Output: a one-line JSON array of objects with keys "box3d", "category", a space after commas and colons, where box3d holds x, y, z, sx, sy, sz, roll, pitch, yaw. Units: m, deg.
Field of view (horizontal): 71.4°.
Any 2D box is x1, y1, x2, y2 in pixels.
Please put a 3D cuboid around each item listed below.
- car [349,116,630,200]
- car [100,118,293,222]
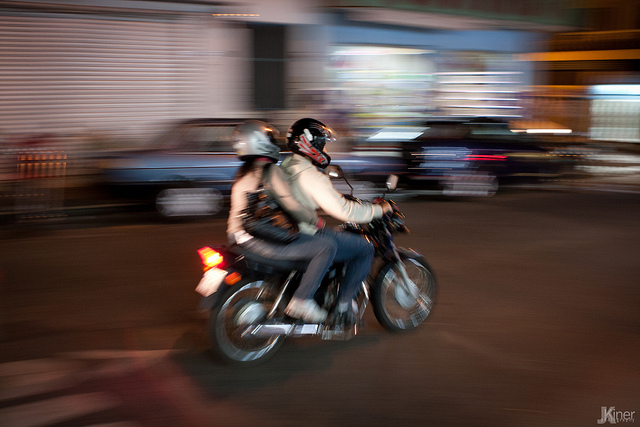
[{"box3d": [5.294, -1.485, 12.960, 8.606, 1.573, 3.038, -3, 7, -18], "category": "car"}, {"box3d": [-2.663, -1.118, 10.280, 5.581, 1.525, 2.666, -3, 17, -27], "category": "car"}]
